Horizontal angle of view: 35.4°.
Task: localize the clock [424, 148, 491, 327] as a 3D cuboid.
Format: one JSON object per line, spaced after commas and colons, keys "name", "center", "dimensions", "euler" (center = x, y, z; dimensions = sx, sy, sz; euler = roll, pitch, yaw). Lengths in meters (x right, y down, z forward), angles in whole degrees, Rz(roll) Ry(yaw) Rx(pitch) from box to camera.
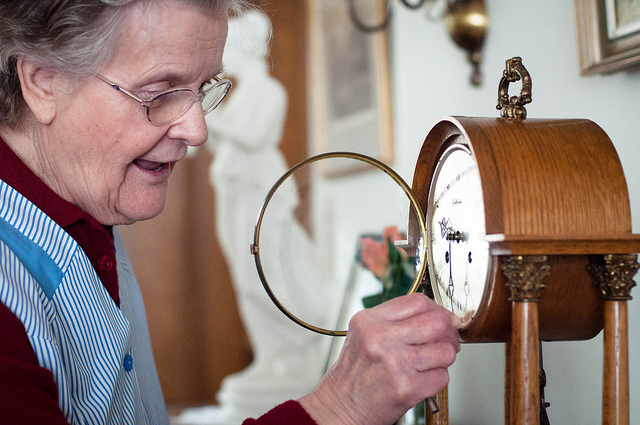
{"name": "clock", "center": [0.330, 0.061, 2.367], "dimensions": [0.071, 0.471, 0.377], "euler": [0, -3, -17]}
